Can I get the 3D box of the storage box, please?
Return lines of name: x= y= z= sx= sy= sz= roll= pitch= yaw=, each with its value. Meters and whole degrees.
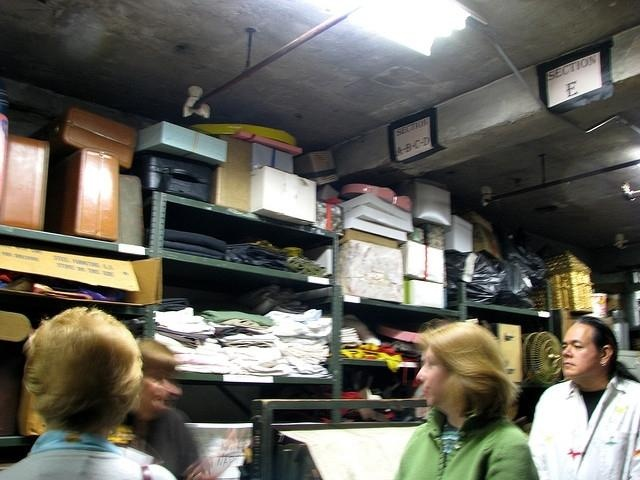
storage box: x=-0.744 y=-0.481 z=4.412 sx=1.278 sy=0.205 sz=1.174 roll=-6 pitch=-14 yaw=41
